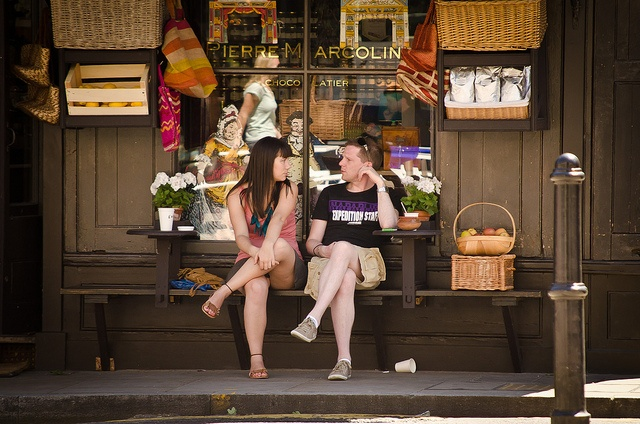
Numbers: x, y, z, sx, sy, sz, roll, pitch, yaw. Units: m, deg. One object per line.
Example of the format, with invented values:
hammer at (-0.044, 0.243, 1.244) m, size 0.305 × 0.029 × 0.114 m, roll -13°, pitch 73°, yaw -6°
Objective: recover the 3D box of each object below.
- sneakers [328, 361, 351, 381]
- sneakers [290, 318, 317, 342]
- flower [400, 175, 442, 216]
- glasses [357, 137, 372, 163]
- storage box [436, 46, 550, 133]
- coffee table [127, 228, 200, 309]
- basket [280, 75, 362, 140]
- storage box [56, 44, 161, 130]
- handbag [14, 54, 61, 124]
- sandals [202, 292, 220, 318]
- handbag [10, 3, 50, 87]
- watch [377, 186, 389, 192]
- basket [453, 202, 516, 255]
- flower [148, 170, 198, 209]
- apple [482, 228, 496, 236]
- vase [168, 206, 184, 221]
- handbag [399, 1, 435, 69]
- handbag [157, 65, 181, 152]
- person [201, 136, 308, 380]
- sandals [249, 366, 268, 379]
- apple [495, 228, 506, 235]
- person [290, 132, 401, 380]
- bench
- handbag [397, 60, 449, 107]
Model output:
sneakers at (0.169, 1.350, 7.801) m, size 0.189 × 0.181 × 0.140 m, roll 0°, pitch 1°, yaw -4°
sneakers at (-0.140, 0.991, 7.727) m, size 0.220 × 0.212 × 0.144 m, roll 0°, pitch 1°, yaw -12°
flower at (0.948, -0.158, 8.473) m, size 0.501 × 0.446 × 0.238 m, roll 0°, pitch -5°, yaw 8°
glasses at (0.432, -0.610, 8.767) m, size 0.060 × 0.201 × 0.150 m, roll -22°, pitch 10°, yaw -37°
storage box at (1.616, -1.152, 8.392) m, size 0.854 × 0.759 × 0.299 m, roll 0°, pitch -2°, yaw 8°
coffee table at (-1.378, 0.533, 8.648) m, size 0.854 × 0.754 × 0.686 m, roll 1°, pitch 2°, yaw 1°
basket at (0.000, -1.012, 8.897) m, size 0.793 × 0.699 × 0.495 m, roll 1°, pitch 5°, yaw 6°
storage box at (-1.979, -1.172, 8.571) m, size 0.922 × 0.729 × 0.266 m, roll 0°, pitch 1°, yaw 5°
handbag at (-2.686, -1.228, 8.632) m, size 0.429 × 0.760 × 0.219 m, roll 0°, pitch 1°, yaw -9°
sandals at (-0.971, 0.812, 7.958) m, size 0.145 × 0.207 × 0.173 m, roll 0°, pitch 1°, yaw -24°
handbag at (-2.724, -1.509, 8.562) m, size 0.243 × 0.588 × 0.200 m, roll 3°, pitch -7°, yaw 13°
watch at (0.594, -0.209, 8.414) m, size 0.083 × 0.042 × 0.079 m, roll 12°, pitch -15°, yaw -31°
basket at (1.526, 0.148, 8.383) m, size 0.583 × 0.482 × 0.405 m, roll 0°, pitch 1°, yaw 8°
flower at (-1.385, -0.208, 8.580) m, size 0.411 × 0.344 × 0.169 m, roll 0°, pitch 1°, yaw -10°
apple at (1.557, 0.170, 8.336) m, size 0.081 × 0.073 × 0.079 m, roll -4°, pitch 10°, yaw -38°
vase at (-1.358, 0.015, 8.603) m, size 0.109 × 0.079 × 0.111 m, roll -4°, pitch -6°, yaw 42°
handbag at (0.934, -1.657, 8.494) m, size 0.335 × 0.679 × 0.215 m, roll 0°, pitch 1°, yaw 3°
handbag at (-1.403, -1.075, 8.830) m, size 0.172 × 0.974 × 0.531 m, roll -1°, pitch 3°, yaw -3°
person at (-0.554, 0.376, 8.129) m, size 0.709 × 2.112 × 1.296 m, roll -1°, pitch -2°, yaw 14°
sandals at (-0.529, 1.395, 7.917) m, size 0.170 × 0.091 × 0.123 m, roll 0°, pitch 1°, yaw -4°
apple at (1.668, 0.174, 8.355) m, size 0.068 × 0.075 × 0.066 m, roll 7°, pitch -4°, yaw 12°
person at (0.147, 0.385, 8.198) m, size 1.026 × 1.962 × 0.993 m, roll -1°, pitch -2°, yaw 11°
bench at (-0.004, 1.090, 8.457) m, size 2.549 × 0.747 × 0.587 m, roll 0°, pitch -4°, yaw 5°
handbag at (0.962, -1.216, 8.530) m, size 0.363 × 0.497 × 0.442 m, roll -2°, pitch -9°, yaw 3°
